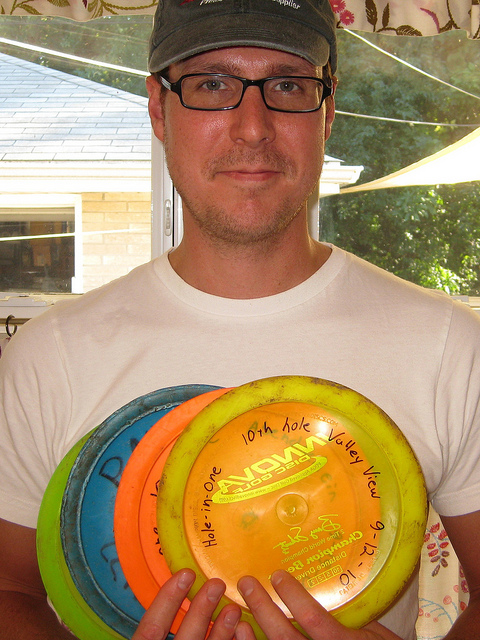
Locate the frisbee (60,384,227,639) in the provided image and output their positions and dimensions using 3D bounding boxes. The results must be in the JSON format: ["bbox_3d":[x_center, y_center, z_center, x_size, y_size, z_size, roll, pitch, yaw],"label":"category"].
[{"bbox_3d":[-0.167,0.293,1.004,0.385,0.304,0.076,-13,-8,-3],"label":"frisbee"}]

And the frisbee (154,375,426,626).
[{"bbox_3d":[0.077,0.246,0.804,0.097,0.376,0.330,29,39,-48],"label":"frisbee"}]
